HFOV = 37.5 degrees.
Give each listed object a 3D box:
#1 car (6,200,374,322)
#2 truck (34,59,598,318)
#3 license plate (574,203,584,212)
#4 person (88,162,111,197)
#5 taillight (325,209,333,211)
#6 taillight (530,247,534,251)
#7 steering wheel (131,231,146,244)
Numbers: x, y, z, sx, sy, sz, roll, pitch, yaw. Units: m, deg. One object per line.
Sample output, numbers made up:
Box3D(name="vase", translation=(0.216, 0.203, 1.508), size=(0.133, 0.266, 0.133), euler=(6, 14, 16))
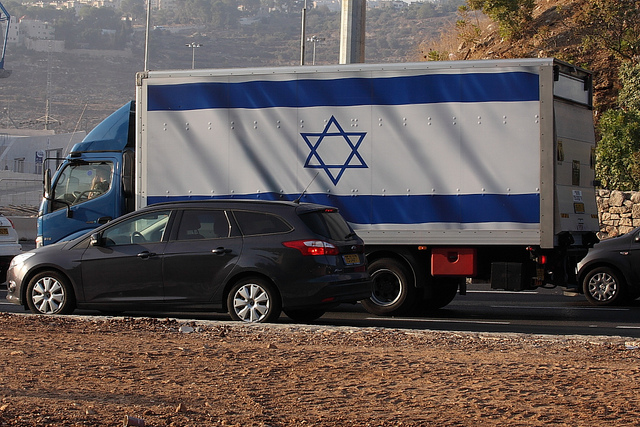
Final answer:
Box3D(name="car", translation=(-2.382, 0.880, 17.910), size=(5.869, 1.970, 2.559), euler=(1, -1, 11))
Box3D(name="truck", translation=(-0.461, -0.410, 20.294), size=(11.012, 4.743, 3.900), euler=(0, 0, 13))
Box3D(name="license plate", translation=(5.162, -0.113, 18.575), size=(0.175, 0.167, 0.042), euler=(4, -5, -43))
Box3D(name="person", translation=(-4.610, -0.722, 19.938), size=(0.427, 0.743, 0.186), euler=(8, -6, 24))
Box3D(name="taillight", translation=(0.193, -0.065, 17.135), size=(0.168, 0.043, 0.021), euler=(-11, 16, -44))
Box3D(name="taillight", translation=(4.093, 0.679, 17.993), size=(0.075, 0.057, 0.045), euler=(5, 11, 28))
Box3D(name="steering wheel", translation=(-3.311, 0.442, 17.292), size=(0.163, 0.386, 0.030), euler=(-12, -32, -25))
